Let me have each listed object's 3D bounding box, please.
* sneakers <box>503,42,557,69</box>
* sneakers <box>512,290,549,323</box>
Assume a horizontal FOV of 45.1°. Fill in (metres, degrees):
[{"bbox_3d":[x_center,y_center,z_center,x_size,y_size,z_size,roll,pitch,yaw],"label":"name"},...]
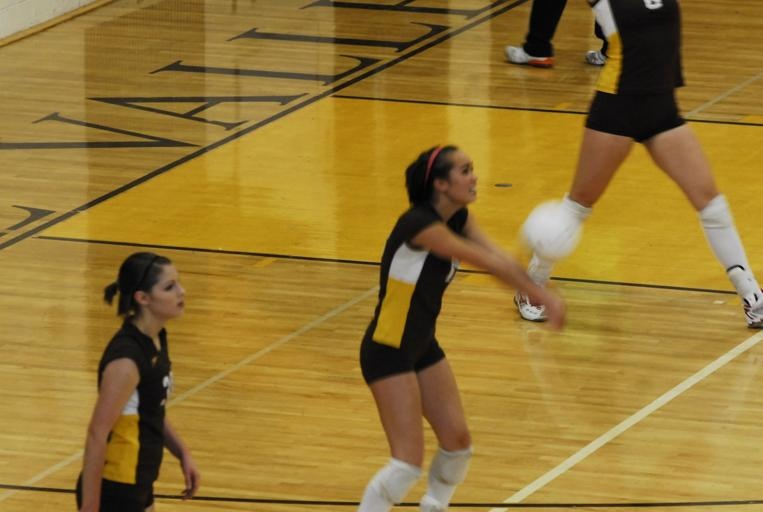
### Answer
[{"bbox_3d":[1.525,-2.056,9.418,0.532,0.182,0.199,11,15,11],"label":"sneakers"},{"bbox_3d":[0.900,0.321,5.650,0.135,0.206,0.078,-21,-41,-40],"label":"sneakers"}]
